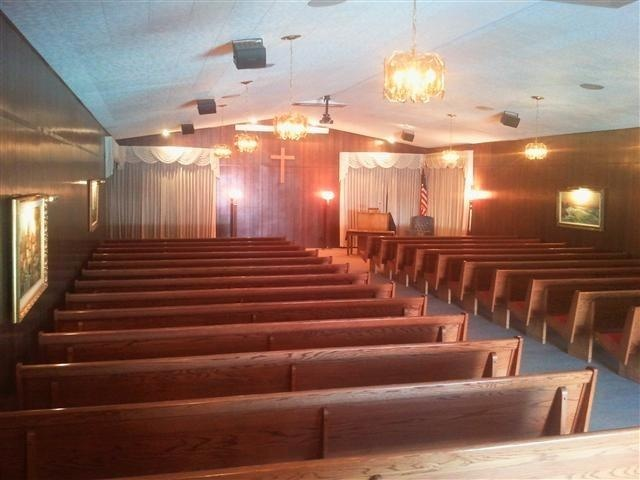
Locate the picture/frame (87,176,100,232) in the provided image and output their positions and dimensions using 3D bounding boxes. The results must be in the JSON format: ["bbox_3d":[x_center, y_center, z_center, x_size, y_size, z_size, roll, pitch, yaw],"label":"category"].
[{"bbox_3d":[-4.100,-0.635,8.629,0.182,0.889,1.514,-1,4,-26],"label":"picture/frame"}]

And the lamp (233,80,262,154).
[{"bbox_3d":[-1.688,-2.901,11.183,0.700,1.521,0.599,2,22,2],"label":"lamp"}]

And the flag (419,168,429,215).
[{"bbox_3d":[3.479,-1.613,15.902,0.268,1.544,0.874,2,5,12],"label":"flag"}]

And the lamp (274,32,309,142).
[{"bbox_3d":[-0.461,-2.404,7.582,0.678,1.494,0.599,-8,27,-19],"label":"lamp"}]
